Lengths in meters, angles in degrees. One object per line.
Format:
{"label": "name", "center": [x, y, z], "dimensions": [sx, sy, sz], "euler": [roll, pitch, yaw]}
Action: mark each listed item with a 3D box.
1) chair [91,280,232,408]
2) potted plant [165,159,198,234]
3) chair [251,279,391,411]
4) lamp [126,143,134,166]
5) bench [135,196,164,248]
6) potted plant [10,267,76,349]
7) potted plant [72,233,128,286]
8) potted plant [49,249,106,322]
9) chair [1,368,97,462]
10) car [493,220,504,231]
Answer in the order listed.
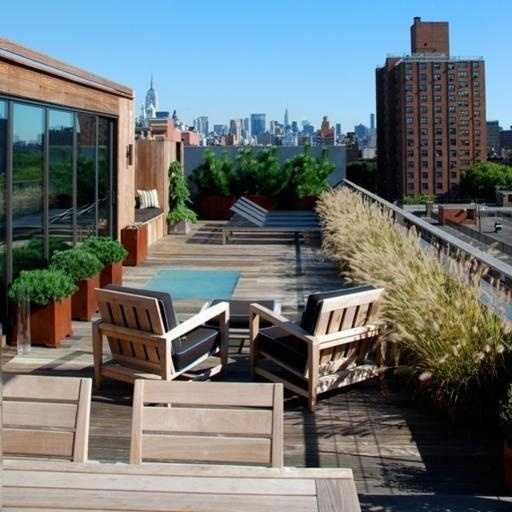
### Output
{"label": "chair", "center": [-0.748, 0.582, 4.365], "dimensions": [0.807, 0.807, 1.004], "euler": [5, 9, 16]}
{"label": "potted plant", "center": [-1.819, -1.471, 13.310], "dimensions": [0.519, 1.748, 0.911], "euler": [0, 8, 8]}
{"label": "chair", "center": [0.471, 0.610, 4.282], "dimensions": [0.756, 0.823, 0.869], "euler": [-3, 7, -32]}
{"label": "lamp", "center": [-2.131, -1.762, 9.358], "dimensions": [0.077, 0.370, 0.227], "euler": [0, 8, 5]}
{"label": "bench", "center": [-2.270, -0.857, 11.764], "dimensions": [0.535, 1.142, 1.895], "euler": [-2, 9, -7]}
{"label": "potted plant", "center": [-2.126, 0.483, 5.435], "dimensions": [0.508, 0.762, 0.610], "euler": [6, -5, -14]}
{"label": "potted plant", "center": [-1.850, 0.087, 7.006], "dimensions": [0.341, 0.543, 0.481], "euler": [-8, 14, 4]}
{"label": "potted plant", "center": [-1.872, 0.326, 5.716], "dimensions": [0.395, 0.714, 0.639], "euler": [0, 11, -3]}
{"label": "chair", "center": [-0.668, 0.528, 1.759], "dimensions": [0.280, 0.264, 0.153], "euler": [-3, 8, -12]}
{"label": "car", "center": [35.875, -4.613, 81.245], "dimensions": [1.150, 1.729, 4.351], "euler": [2, 9, 14]}
